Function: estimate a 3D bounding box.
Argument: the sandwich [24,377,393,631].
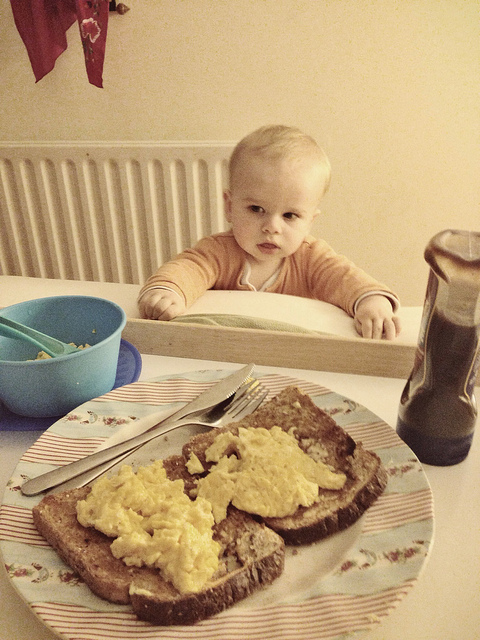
[{"bbox_3d":[0.001,0.168,0.600,0.286,0.040,0.165,-18,34,-34],"label":"sandwich"}]

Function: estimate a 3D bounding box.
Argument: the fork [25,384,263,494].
[{"bbox_3d":[-0.109,0.134,0.676,0.230,0.028,0.029,-18,36,-25],"label":"fork"}]

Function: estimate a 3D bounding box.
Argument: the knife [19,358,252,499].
[{"bbox_3d":[-0.121,0.125,0.686,0.251,0.026,0.030,-30,33,-33],"label":"knife"}]

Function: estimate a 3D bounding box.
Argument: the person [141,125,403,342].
[{"bbox_3d":[0.116,-0.260,1.634,0.696,0.714,0.452,3,29,1],"label":"person"}]

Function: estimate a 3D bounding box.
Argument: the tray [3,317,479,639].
[{"bbox_3d":[0.041,0.162,0.666,0.381,0.039,0.362,0,25,5],"label":"tray"}]
